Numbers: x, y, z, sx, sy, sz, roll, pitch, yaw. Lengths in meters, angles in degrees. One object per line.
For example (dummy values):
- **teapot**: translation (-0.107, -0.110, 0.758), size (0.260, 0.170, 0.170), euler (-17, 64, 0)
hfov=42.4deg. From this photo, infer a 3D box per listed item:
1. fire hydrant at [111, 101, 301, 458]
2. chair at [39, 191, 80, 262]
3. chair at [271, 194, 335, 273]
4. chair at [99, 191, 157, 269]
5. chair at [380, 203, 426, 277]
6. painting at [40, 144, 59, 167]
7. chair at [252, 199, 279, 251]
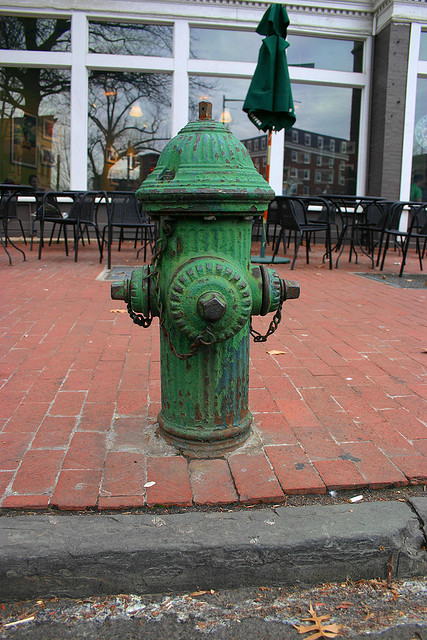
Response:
- **fire hydrant**: translation (-0.032, -0.166, 2.168), size (0.496, 1.386, 0.551), euler (10, 14, 41)
- **chair**: translation (-2.140, -1.366, 7.894), size (0.659, 0.934, 0.645), euler (-7, 19, -2)
- **chair**: translation (1.367, -1.303, 8.058), size (0.813, 0.985, 0.862), euler (2, 10, 6)
- **chair**: translation (-1.225, -1.330, 7.966), size (0.682, 1.055, 0.764), euler (-4, 11, -2)
- **chair**: translation (2.684, -1.144, 7.860), size (0.523, 0.917, 2.194), euler (4, 10, 17)
- **painting**: translation (-3.412, -3.445, 11.460), size (0.506, 0.527, 0.060), euler (3, 3, 4)
- **chair**: translation (0.856, -1.671, 9.653), size (0.445, 0.778, 0.503), euler (20, 9, 20)
